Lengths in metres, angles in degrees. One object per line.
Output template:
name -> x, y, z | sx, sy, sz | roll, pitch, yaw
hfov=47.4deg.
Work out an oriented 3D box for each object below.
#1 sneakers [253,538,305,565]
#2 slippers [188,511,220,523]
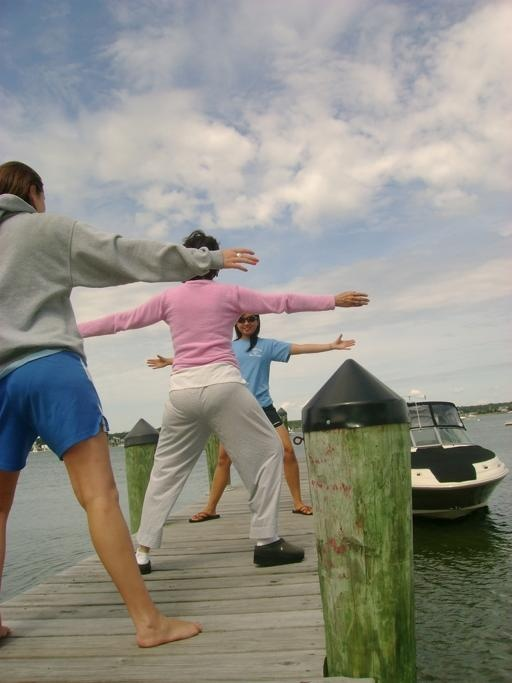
sneakers -> 0.125, 1.293, 3.618 | 0.337, 0.121, 0.131 | 0, -6, -9
slippers -> -0.487, 1.639, 5.453 | 0.101, 0.061, 0.265 | -13, -22, 38
